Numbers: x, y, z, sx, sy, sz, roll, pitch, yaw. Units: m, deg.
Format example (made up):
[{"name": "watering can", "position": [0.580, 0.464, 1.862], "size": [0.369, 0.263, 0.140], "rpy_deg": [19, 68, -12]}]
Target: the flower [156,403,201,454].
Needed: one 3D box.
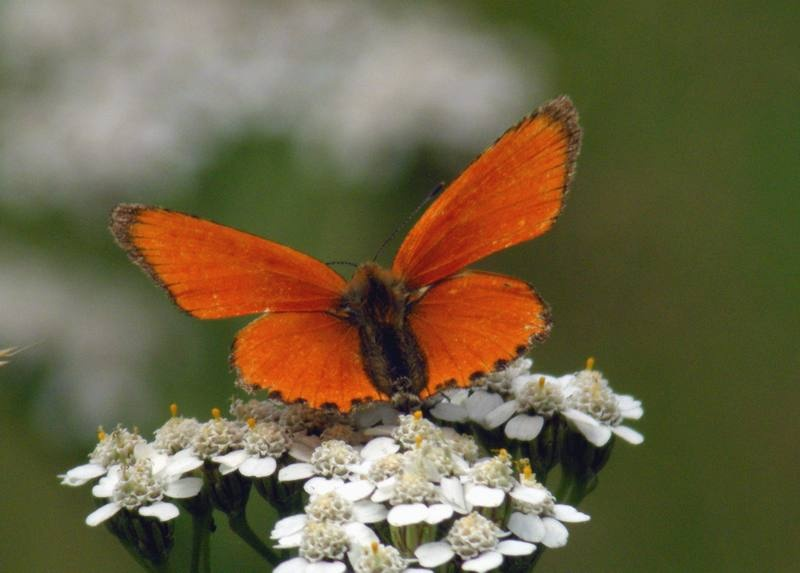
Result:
[{"name": "flower", "position": [-1.134, 0.704, 6.015], "size": [0.202, 0.196, 0.249], "rpy_deg": [-15, 10, -40]}]

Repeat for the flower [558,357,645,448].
[{"name": "flower", "position": [1.018, 0.613, 6.051], "size": [0.483, 0.295, 0.593], "rpy_deg": [-5, 2, 10]}]

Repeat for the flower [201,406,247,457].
[{"name": "flower", "position": [-0.894, 0.716, 5.901], "size": [0.178, 0.208, 0.225], "rpy_deg": [-3, 27, 10]}]

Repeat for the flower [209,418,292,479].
[{"name": "flower", "position": [-0.720, 0.798, 5.808], "size": [0.305, 0.178, 0.298], "rpy_deg": [-30, 30, -35]}]

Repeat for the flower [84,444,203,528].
[{"name": "flower", "position": [-1.288, 0.997, 5.783], "size": [0.505, 0.234, 0.612], "rpy_deg": [3, 3, -4]}]
